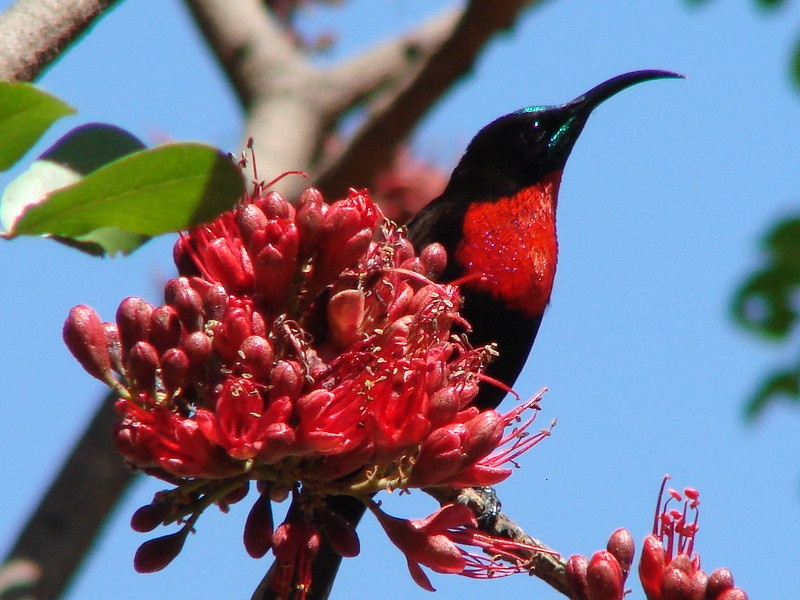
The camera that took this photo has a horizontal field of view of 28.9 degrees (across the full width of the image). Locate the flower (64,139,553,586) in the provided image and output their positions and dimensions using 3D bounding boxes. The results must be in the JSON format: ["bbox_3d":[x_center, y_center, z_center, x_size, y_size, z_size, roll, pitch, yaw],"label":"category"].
[{"bbox_3d":[-0.189,0.170,3.040,0.803,0.859,0.527,-14,36,4],"label":"flower"}]
